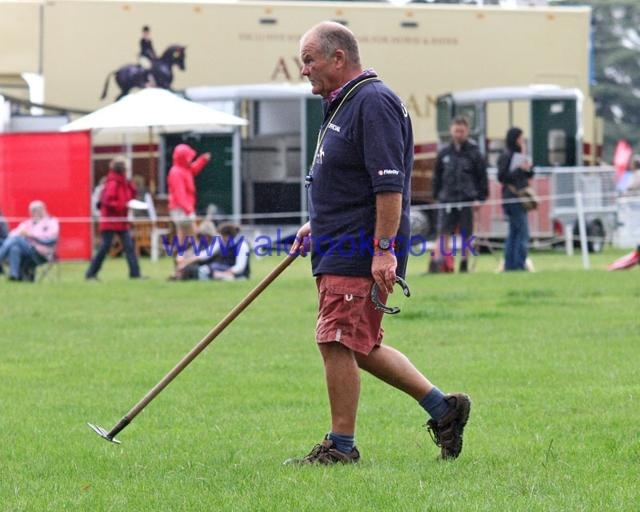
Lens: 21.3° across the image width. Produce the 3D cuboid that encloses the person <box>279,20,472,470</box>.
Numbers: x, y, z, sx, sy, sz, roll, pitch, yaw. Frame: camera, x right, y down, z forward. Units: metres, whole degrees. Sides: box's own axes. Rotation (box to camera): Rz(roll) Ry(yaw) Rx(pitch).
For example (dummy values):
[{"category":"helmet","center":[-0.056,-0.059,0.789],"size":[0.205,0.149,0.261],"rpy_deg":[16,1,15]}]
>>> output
[{"category":"person","center":[0.290,-0.073,9.424],"size":[0.853,2.387,0.565],"rpy_deg":[0,11,4]}]

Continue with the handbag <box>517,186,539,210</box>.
[{"category":"handbag","center":[1.220,-0.335,9.971],"size":[0.112,0.127,0.045],"rpy_deg":[-17,-18,-1]}]

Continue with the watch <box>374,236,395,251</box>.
[{"category":"watch","center":[0.344,-0.063,9.314],"size":[0.105,0.073,0.043],"rpy_deg":[-2,11,-6]}]

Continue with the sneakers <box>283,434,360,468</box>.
[{"category":"sneakers","center":[0.009,1.090,9.532],"size":[0.465,0.215,0.165],"rpy_deg":[1,-10,-4]}]

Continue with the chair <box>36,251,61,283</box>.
[{"category":"chair","center":[-1.635,0.081,10.205],"size":[0.146,0.208,0.116],"rpy_deg":[1,6,-11]}]

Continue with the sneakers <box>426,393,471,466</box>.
[{"category":"sneakers","center":[0.725,0.945,9.506],"size":[0.202,0.473,0.153],"rpy_deg":[-4,8,-4]}]

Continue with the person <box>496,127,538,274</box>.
[{"category":"person","center":[1.158,-0.324,10.105],"size":[0.205,0.783,0.383],"rpy_deg":[0,11,6]}]
